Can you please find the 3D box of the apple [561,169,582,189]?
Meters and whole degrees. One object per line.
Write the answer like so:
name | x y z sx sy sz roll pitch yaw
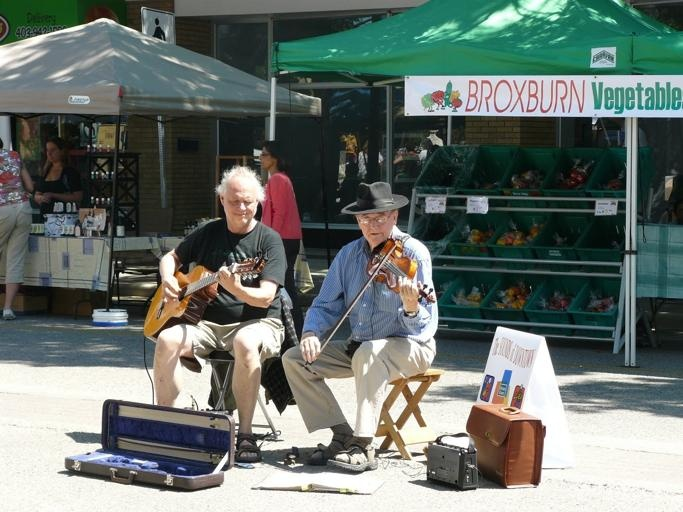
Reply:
apple | 2.560 -0.860 13.256 0.221 0.205 0.179 0 5 -14

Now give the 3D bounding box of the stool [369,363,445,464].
stool | 0.545 1.268 9.884 0.714 0.658 0.634 -2 0 -44

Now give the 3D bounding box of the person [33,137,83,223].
person | -3.516 -0.993 15.095 0.505 1.109 0.460 2 14 3

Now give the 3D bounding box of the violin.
violin | 0.528 0.116 9.381 0.591 0.362 0.197 42 15 29

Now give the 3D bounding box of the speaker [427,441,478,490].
speaker | 0.844 1.596 9.191 0.385 0.332 0.109 3 5 25

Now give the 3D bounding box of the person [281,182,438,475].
person | 0.251 0.548 9.712 1.042 2.260 1.234 1 1 26

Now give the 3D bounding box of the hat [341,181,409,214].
hat | 0.273 -0.461 9.516 0.505 0.258 0.391 1 5 1

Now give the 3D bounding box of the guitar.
guitar | -1.149 0.331 9.732 0.168 0.531 1.119 25 -34 -38

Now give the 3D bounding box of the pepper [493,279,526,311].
pepper | 1.878 0.407 13.267 0.253 0.125 0.380 0 43 35

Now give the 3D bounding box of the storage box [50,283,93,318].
storage box | -3.306 0.571 14.781 0.604 0.337 0.412 0 -2 29

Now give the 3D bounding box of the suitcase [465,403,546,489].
suitcase | 1.236 1.466 9.221 0.594 0.573 0.264 2 5 15

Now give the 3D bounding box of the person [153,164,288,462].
person | -1.001 0.386 9.902 1.130 2.312 1.040 4 11 -6

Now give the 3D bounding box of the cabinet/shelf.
cabinet/shelf | -3.027 -0.825 15.169 0.731 1.238 0.673 5 12 22

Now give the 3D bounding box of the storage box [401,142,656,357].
storage box | 2.049 -0.193 13.358 3.225 2.904 1.739 1 1 17

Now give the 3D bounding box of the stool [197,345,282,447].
stool | -0.695 1.120 9.983 0.556 0.800 0.775 9 10 35

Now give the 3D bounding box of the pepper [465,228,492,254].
pepper | 1.546 -0.187 13.494 0.194 0.101 0.312 -2 42 24

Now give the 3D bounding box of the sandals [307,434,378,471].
sandals | 0.022 1.533 9.426 0.537 0.280 0.261 1 5 1

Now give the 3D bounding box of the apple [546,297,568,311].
apple | 2.341 0.501 12.994 0.248 0.125 0.277 2 5 12

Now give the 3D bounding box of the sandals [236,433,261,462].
sandals | -0.729 1.518 9.537 0.198 0.228 0.129 1 4 -3

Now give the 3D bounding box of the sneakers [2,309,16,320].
sneakers | -3.961 0.682 14.422 0.085 0.095 0.220 0 6 1
